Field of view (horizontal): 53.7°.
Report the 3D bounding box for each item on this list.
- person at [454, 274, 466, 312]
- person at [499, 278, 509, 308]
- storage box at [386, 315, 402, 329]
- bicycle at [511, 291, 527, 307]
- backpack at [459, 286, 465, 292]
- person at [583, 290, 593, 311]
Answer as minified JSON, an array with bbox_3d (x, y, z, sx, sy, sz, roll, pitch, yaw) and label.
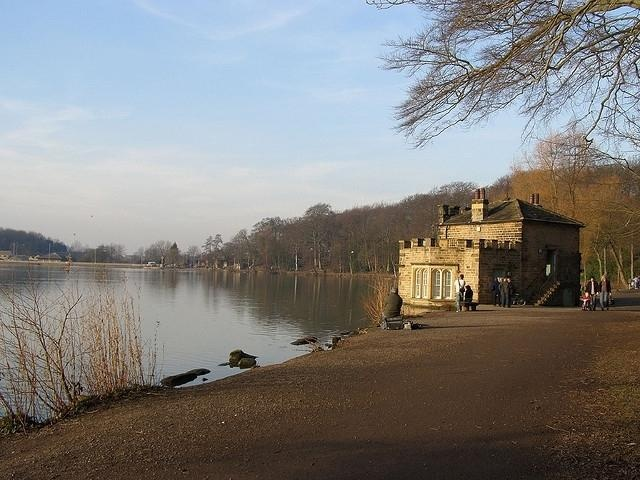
[{"bbox_3d":[6.588,2.441,29.823,0.503,1.263,1.632,-4,1,13],"label":"person"},{"bbox_3d":[9.300,2.643,32.047,0.487,0.956,0.946,-4,1,14],"label":"person"},{"bbox_3d":[2.718,3.049,23.408,0.628,0.359,0.324,-4,1,-1],"label":"storage box"},{"bbox_3d":[10.656,3.125,34.091,0.466,0.769,1.584,-3,1,36],"label":"bicycle"},{"bbox_3d":[6.682,2.307,29.867,0.243,0.338,0.341,-1,-6,-2],"label":"backpack"},{"bbox_3d":[12.698,2.889,30.160,0.420,0.828,0.668,-3,1,22],"label":"person"}]
